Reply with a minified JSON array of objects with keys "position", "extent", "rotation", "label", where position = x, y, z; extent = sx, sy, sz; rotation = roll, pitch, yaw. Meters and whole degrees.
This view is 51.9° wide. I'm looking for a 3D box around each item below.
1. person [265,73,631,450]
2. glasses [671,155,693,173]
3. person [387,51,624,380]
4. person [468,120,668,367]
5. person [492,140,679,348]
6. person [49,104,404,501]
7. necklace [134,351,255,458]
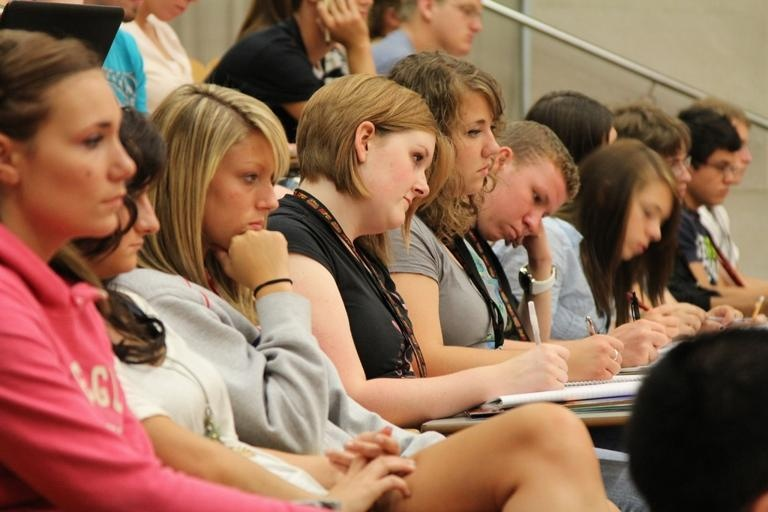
[{"position":[0.157,-0.005,2.749],"extent":[1.117,1.128,0.863],"rotation":[11,7,10],"label":"person"},{"position":[1.578,-0.490,4.162],"extent":[0.107,0.045,0.107],"rotation":[-10,-7,41],"label":"glasses"},{"position":[0.465,-0.068,3.106],"extent":[1.062,1.298,0.936],"rotation":[1,5,2],"label":"person"},{"position":[0.809,0.037,3.593],"extent":[1.090,1.060,0.773],"rotation":[-2,10,22],"label":"person"},{"position":[1.170,-0.080,4.290],"extent":[1.004,1.109,0.806],"rotation":[14,6,23],"label":"person"},{"position":[-0.502,0.181,2.187],"extent":[1.123,0.792,0.601],"rotation":[18,-7,-2],"label":"person"},{"position":[-0.452,0.354,1.850],"extent":[0.126,0.222,0.234],"rotation":[-31,-13,12],"label":"necklace"}]
